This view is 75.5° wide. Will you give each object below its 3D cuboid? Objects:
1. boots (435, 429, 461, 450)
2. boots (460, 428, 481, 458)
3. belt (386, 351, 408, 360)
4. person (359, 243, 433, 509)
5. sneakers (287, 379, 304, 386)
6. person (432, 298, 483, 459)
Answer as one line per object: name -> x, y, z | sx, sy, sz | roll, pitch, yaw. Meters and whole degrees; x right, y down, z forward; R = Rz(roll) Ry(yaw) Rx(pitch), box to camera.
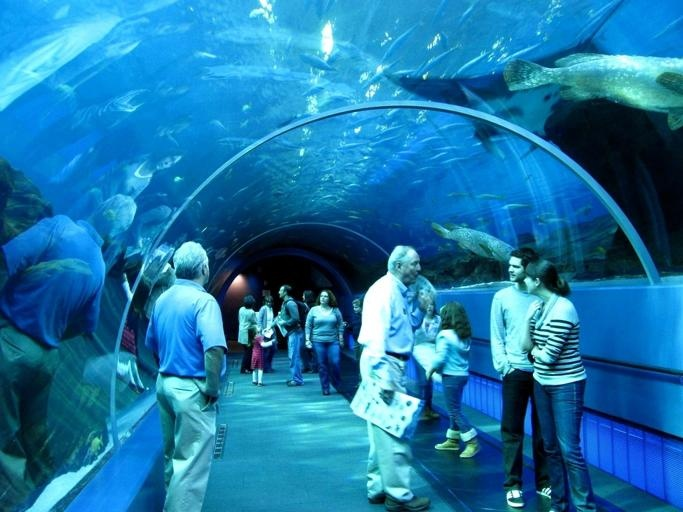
boots -> 1.563, 2.628, 6.377 | 0.464, 0.319, 0.211 | 2, -7, -2
boots -> 1.743, 2.504, 5.990 | 0.251, 0.393, 0.384 | -2, -10, 15
belt -> 0.560, 0.968, 4.309 | 0.137, 0.033, 0.140 | 19, -6, -6
person -> 0.520, 1.199, 4.450 | 0.664, 2.653, 0.801 | -1, -10, 10
sneakers -> -1.231, 3.413, 11.861 | 0.379, 0.176, 0.151 | 6, -21, 4
person -> 1.572, 1.688, 6.189 | 0.626, 2.066, 0.713 | -2, -10, 15
